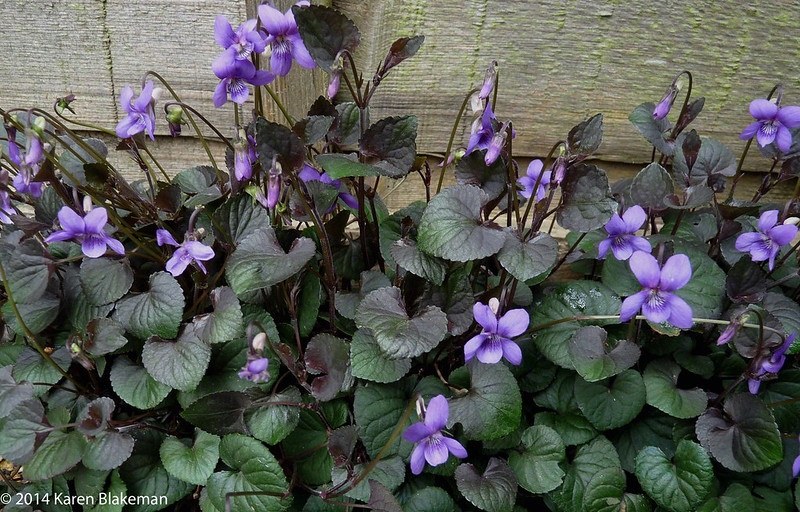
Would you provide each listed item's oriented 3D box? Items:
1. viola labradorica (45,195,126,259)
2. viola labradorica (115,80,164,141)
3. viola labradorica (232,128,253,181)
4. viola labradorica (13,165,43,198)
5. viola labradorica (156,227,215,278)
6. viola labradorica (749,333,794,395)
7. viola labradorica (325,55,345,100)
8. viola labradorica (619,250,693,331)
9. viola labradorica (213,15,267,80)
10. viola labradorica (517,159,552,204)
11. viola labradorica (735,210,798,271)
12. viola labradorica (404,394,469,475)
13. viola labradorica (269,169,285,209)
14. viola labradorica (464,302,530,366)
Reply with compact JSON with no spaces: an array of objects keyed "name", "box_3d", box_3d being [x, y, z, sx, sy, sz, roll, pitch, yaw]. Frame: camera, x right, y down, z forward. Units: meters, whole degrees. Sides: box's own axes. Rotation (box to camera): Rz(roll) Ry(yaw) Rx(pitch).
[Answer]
[{"name":"viola labradorica","box_3d":[-1.321,-0.101,2.804,0.278,0.277,0.282,-7,34,-22]},{"name":"viola labradorica","box_3d":[-1.092,-0.606,2.798,0.179,0.231,0.154,11,31,7]},{"name":"viola labradorica","box_3d":[-0.646,-0.397,2.765,0.083,0.256,0.150,-2,32,-14]},{"name":"viola labradorica","box_3d":[-1.559,-0.319,2.781,0.123,0.127,0.062,28,18,7]},{"name":"viola labradorica","box_3d":[-0.880,-0.012,2.785,0.215,0.228,0.110,2,-5,28]},{"name":"viola labradorica","box_3d":[1.594,0.455,2.870,0.094,0.316,0.093,-40,56,-15]},{"name":"viola labradorica","box_3d":[-0.273,-0.737,2.778,0.060,0.192,0.058,16,-3,26]},{"name":"viola labradorica","box_3d":[1.053,0.132,2.703,0.276,0.273,0.175,12,32,9]},{"name":"viola labradorica","box_3d":[-0.658,-0.905,2.777,0.208,0.109,0.223,-12,64,16]},{"name":"viola labradorica","box_3d":[0.592,-0.341,3.037,0.044,0.187,0.192,5,56,-40]},{"name":"viola labradorica","box_3d":[1.597,-0.071,2.940,0.205,0.269,0.154,16,32,15]},{"name":"viola labradorica","box_3d":[0.131,0.727,2.709,0.260,0.325,0.123,-19,8,5]},{"name":"viola labradorica","box_3d":[-0.498,-0.269,2.656,0.057,0.139,0.058,-4,32,-16]},{"name":"viola labradorica","box_3d":[0.391,0.330,2.666,0.253,0.261,0.126,11,16,-10]}]
